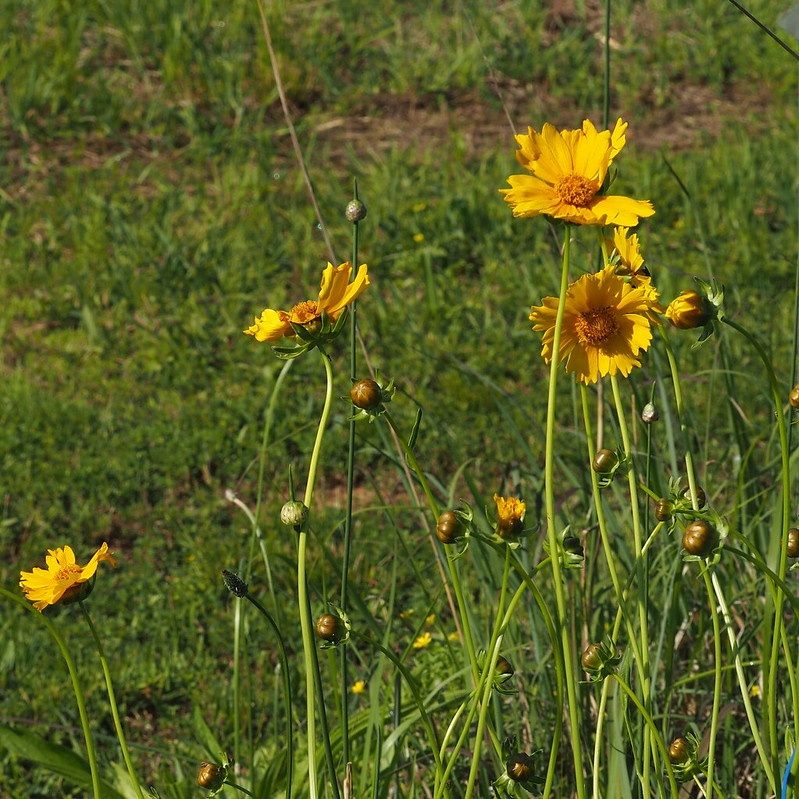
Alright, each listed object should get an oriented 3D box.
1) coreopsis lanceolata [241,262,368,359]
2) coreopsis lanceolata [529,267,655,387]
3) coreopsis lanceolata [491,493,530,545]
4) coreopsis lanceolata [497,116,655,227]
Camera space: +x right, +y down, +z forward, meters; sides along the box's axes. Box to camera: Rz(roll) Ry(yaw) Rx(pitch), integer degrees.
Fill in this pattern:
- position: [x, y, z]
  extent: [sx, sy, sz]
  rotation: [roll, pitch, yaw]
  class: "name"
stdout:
- position: [-0.126, -0.155, 2.116]
  extent: [0.178, 0.109, 0.207]
  rotation: [-26, 10, -36]
  class: "coreopsis lanceolata"
- position: [0.308, -0.137, 2.103]
  extent: [0.135, 0.074, 0.175]
  rotation: [-4, -25, -8]
  class: "coreopsis lanceolata"
- position: [0.173, 0.190, 2.122]
  extent: [0.053, 0.087, 0.061]
  rotation: [0, -4, 6]
  class: "coreopsis lanceolata"
- position: [0.265, -0.376, 2.155]
  extent: [0.223, 0.118, 0.247]
  rotation: [1, 8, 32]
  class: "coreopsis lanceolata"
